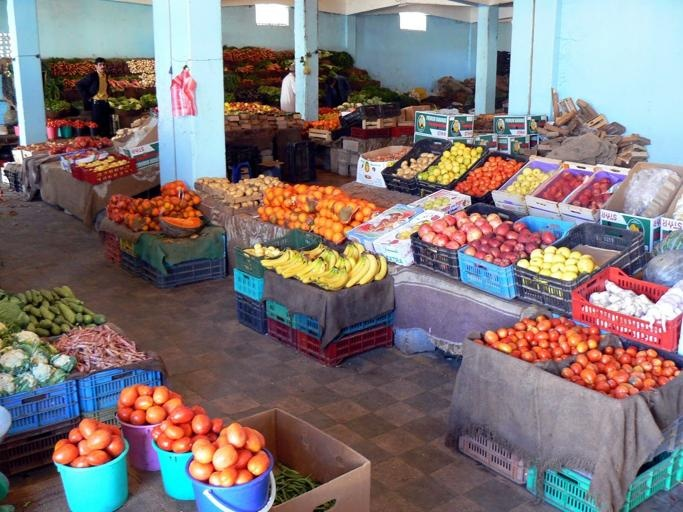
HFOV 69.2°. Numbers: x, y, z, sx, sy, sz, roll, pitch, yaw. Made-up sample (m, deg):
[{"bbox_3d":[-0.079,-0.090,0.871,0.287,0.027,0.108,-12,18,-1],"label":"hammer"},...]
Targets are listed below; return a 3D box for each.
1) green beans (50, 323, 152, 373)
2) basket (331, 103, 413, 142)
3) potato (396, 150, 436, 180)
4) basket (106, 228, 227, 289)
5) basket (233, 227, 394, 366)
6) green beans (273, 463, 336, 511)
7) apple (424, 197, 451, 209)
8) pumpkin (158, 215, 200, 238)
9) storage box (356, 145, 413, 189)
[{"bbox_3d":[-1.634,0.626,3.326,0.362,0.082,0.361,-8,23,-33],"label":"green beans"},{"bbox_3d":[0.775,-3.183,11.748,1.813,0.794,0.854,-9,21,-21],"label":"basket"},{"bbox_3d":[0.976,-1.180,6.424,0.529,0.157,0.319,-41,39,-19],"label":"potato"},{"bbox_3d":[-2.067,-0.007,6.221,0.713,0.461,1.200,12,15,32],"label":"basket"},{"bbox_3d":[-0.243,0.303,4.847,0.990,0.697,1.381,-16,32,-30],"label":"basket"},{"bbox_3d":[-0.209,1.105,2.436,0.228,0.057,0.241,-2,15,-43],"label":"green beans"},{"bbox_3d":[1.009,-0.548,5.181,0.170,0.068,0.136,4,38,43],"label":"apple"},{"bbox_3d":[-2.000,-0.372,6.207,0.360,0.152,0.301,-8,30,-26],"label":"pumpkin"},{"bbox_3d":[0.621,-1.353,6.997,0.562,0.385,0.943,20,37,31],"label":"storage box"}]
